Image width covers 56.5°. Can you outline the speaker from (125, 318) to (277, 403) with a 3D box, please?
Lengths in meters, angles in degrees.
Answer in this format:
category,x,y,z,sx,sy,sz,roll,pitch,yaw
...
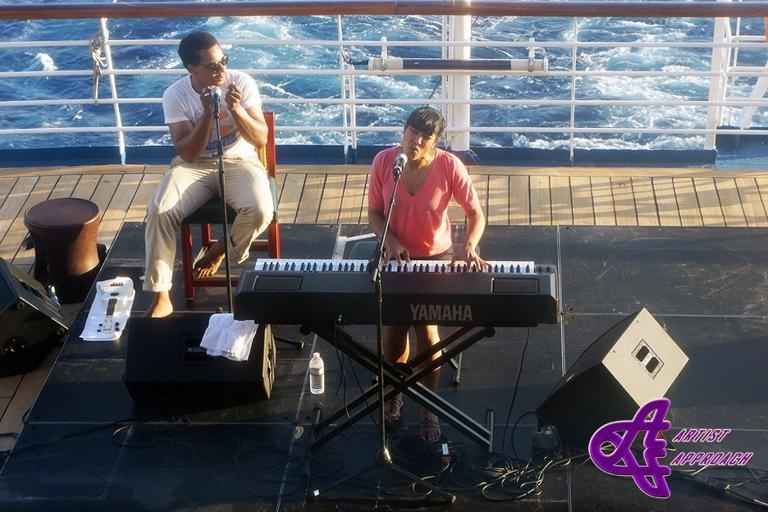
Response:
category,x,y,z,sx,sy,sz,roll,pitch,yaw
speaker,-1.063,0.514,4.064,0.740,0.418,0.602,3,17,-10

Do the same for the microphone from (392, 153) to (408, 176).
category,x,y,z,sx,sy,sz,roll,pitch,yaw
microphone,0.083,-0.451,3.515,0.062,0.060,0.178,28,20,-3

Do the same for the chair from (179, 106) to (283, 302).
category,x,y,z,sx,sy,sz,roll,pitch,yaw
chair,-0.866,-0.383,4.813,0.798,1.118,0.775,8,-7,-36

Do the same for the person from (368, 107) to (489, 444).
category,x,y,z,sx,sy,sz,roll,pitch,yaw
person,0.167,0.085,3.956,0.719,1.755,0.670,1,9,0

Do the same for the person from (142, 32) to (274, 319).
category,x,y,z,sx,sy,sz,roll,pitch,yaw
person,-1.048,-0.542,4.455,0.873,1.569,1.031,10,21,14

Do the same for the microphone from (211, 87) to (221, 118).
category,x,y,z,sx,sy,sz,roll,pitch,yaw
microphone,-0.876,-0.800,3.726,0.043,0.141,0.172,-5,24,-10

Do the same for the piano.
category,x,y,z,sx,sy,sz,roll,pitch,yaw
piano,0.060,0.172,3.440,1.530,0.282,0.307,1,24,2
